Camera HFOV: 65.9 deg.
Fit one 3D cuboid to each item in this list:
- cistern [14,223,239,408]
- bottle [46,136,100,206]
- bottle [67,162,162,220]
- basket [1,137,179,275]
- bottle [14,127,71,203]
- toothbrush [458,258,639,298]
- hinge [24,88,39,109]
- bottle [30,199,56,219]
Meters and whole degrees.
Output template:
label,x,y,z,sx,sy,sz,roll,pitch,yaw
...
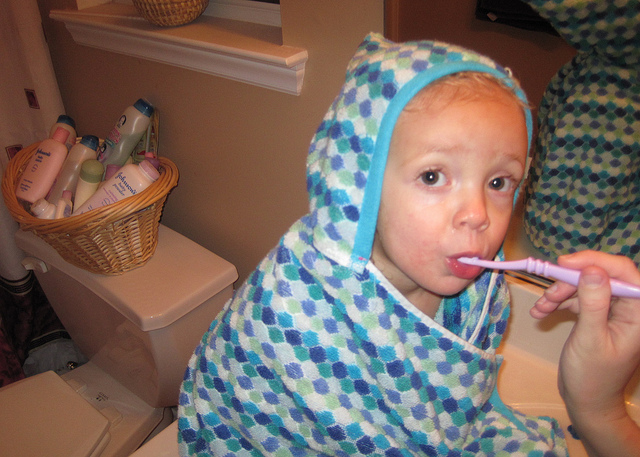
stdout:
label,x,y,z,sx,sy,sz,roll,pitch,yaw
cistern,-0.634,0.254,1.643,0.642,0.464,0.377,23,33,26
bottle,-0.822,-0.157,1.616,0.123,0.133,0.476,12,-1,-9
bottle,-0.556,-0.085,1.351,0.250,0.138,0.144,-11,37,-20
basket,-0.680,-0.042,1.440,0.520,0.248,0.296,5,34,3
bottle,-0.826,-0.194,1.469,0.135,0.165,0.192,1,34,-2
toothbrush,0.408,0.086,0.873,0.255,0.026,0.027,14,51,3
hinge,-1.010,-0.456,1.728,0.048,0.067,0.006,25,41,20
bottle,-0.768,-0.045,1.391,0.049,0.053,0.057,-7,52,40
